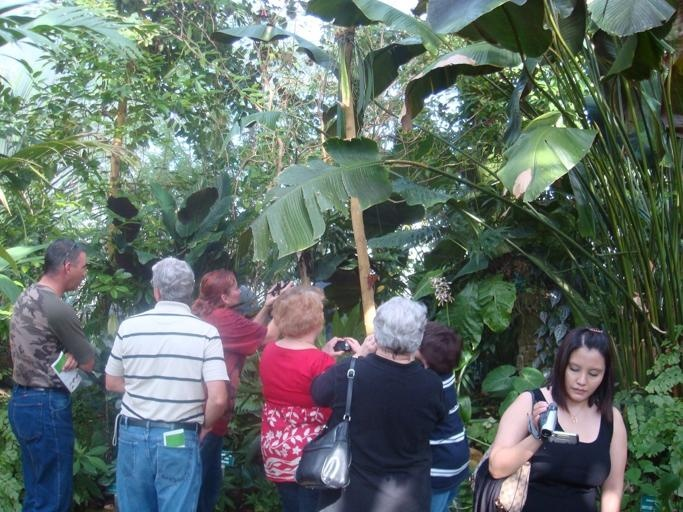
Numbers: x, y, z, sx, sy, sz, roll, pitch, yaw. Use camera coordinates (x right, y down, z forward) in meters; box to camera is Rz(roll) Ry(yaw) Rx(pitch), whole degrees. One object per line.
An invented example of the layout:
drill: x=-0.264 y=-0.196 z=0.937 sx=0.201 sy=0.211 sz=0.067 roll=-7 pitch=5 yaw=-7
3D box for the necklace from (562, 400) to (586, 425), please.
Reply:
necklace: x=1.324 y=0.895 z=3.347 sx=0.115 sy=0.237 sz=0.023 roll=-2 pitch=-2 yaw=19

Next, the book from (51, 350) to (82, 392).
book: x=-2.102 y=0.867 z=4.467 sx=0.029 sy=0.168 sz=0.309 roll=7 pitch=-48 yaw=29

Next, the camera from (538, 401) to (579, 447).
camera: x=1.167 y=0.899 z=3.160 sx=0.191 sy=0.200 sz=0.152 roll=0 pitch=-10 yaw=21

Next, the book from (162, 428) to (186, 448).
book: x=-1.094 y=1.199 z=3.825 sx=0.112 sy=0.124 sz=0.027 roll=-6 pitch=0 yaw=-19

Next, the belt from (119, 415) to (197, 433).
belt: x=-1.245 y=1.124 z=3.940 sx=0.556 sy=0.074 sz=0.137 roll=4 pitch=-10 yaw=1
